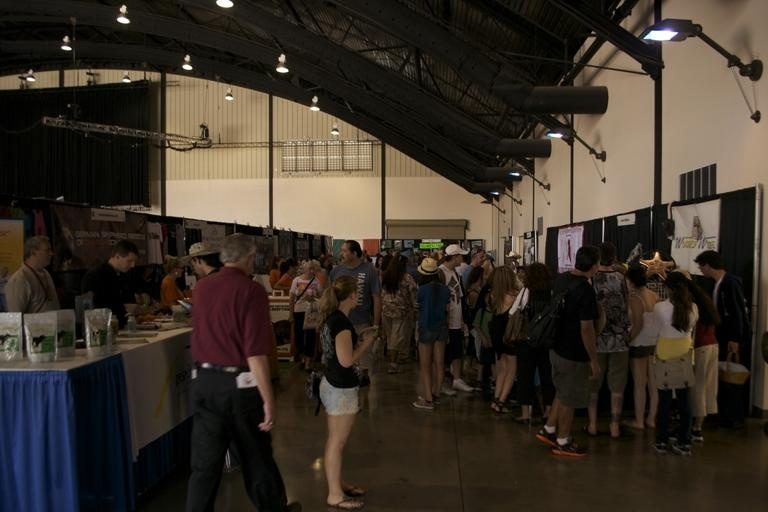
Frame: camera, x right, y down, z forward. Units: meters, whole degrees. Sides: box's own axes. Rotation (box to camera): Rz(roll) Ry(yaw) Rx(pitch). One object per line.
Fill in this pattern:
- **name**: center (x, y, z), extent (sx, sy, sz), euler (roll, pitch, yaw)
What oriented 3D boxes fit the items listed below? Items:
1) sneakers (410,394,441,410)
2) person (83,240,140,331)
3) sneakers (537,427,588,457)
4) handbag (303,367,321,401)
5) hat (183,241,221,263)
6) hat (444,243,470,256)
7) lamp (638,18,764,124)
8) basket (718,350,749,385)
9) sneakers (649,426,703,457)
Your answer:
- **sneakers**: center (0.575, 2.129, 10.380), extent (0.360, 0.202, 0.170), euler (4, 2, 30)
- **person**: center (-3.319, 0.379, 8.775), extent (0.611, 1.095, 0.437), euler (-10, 14, -37)
- **sneakers**: center (2.263, 2.379, 9.171), extent (0.594, 0.325, 0.234), euler (9, 7, 41)
- **handbag**: center (-0.818, 1.474, 8.268), extent (0.103, 0.342, 0.227), euler (4, 4, -11)
- **hat**: center (-2.244, -0.055, 8.710), extent (0.417, 0.172, 0.496), euler (-2, 0, 9)
- **hat**: center (1.133, -0.077, 11.237), extent (0.372, 0.184, 0.241), euler (-1, 4, -38)
- **lamp**: center (4.287, -2.479, 9.627), extent (1.353, 1.328, 0.573), euler (2, 11, 14)
- **basket**: center (4.598, 1.483, 9.580), extent (0.250, 0.532, 0.443), euler (-2, 6, -23)
- **sneakers**: center (3.683, 2.315, 9.043), extent (0.542, 0.339, 0.233), euler (3, 2, 35)
